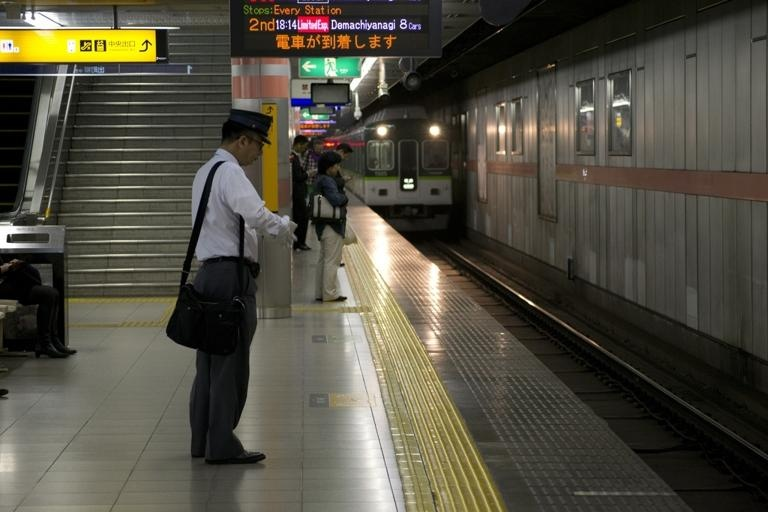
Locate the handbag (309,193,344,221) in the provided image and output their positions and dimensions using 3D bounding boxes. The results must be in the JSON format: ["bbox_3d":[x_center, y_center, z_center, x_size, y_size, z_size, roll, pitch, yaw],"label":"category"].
[{"bbox_3d":[-0.835,-0.722,8.491,0.416,0.358,0.157,0,0,-11],"label":"handbag"}]

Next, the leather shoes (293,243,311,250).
[{"bbox_3d":[-1.901,-0.216,13.565,0.400,0.156,0.133,-3,6,-2],"label":"leather shoes"}]

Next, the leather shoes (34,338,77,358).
[{"bbox_3d":[-3.456,0.978,6.237,0.428,0.180,0.141,-1,2,-17],"label":"leather shoes"}]

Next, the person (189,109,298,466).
[{"bbox_3d":[-0.994,0.240,3.918,0.658,2.387,0.443,1,8,-6],"label":"person"}]

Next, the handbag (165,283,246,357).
[{"bbox_3d":[-1.153,0.421,3.783,0.498,0.462,0.172,2,8,4],"label":"handbag"}]

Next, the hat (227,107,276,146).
[{"bbox_3d":[-0.872,-0.887,3.921,0.322,0.165,0.244,20,10,-2],"label":"hat"}]
